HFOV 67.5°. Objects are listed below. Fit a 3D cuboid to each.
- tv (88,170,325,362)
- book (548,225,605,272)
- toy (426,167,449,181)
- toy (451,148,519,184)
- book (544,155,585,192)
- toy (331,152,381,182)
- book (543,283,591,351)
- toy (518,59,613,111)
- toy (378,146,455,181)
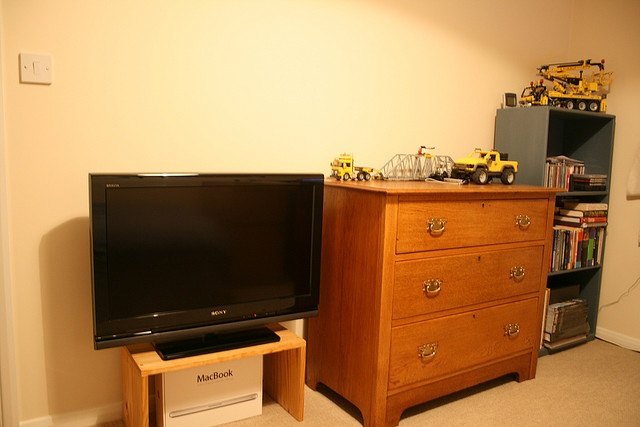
[{"bbox_3d":[-0.629,0.257,2.489,1.019,0.732,0.106,-2,7,-29],"label":"tv"},{"bbox_3d":[1.846,0.224,3.614,0.453,0.440,0.330,-4,6,-34],"label":"book"},{"bbox_3d":[0.820,-0.268,3.279,0.100,0.047,0.130,8,17,28],"label":"toy"},{"bbox_3d":[1.101,-0.314,3.222,0.388,0.216,0.224,-2,6,-25],"label":"toy"},{"bbox_3d":[1.756,-0.277,3.470,0.290,0.281,0.114,-1,4,-27],"label":"book"},{"bbox_3d":[0.225,-0.288,2.986,0.331,0.164,0.137,-3,8,-35],"label":"toy"},{"bbox_3d":[1.807,0.781,3.552,0.457,0.329,0.291,-9,15,-25],"label":"book"},{"bbox_3d":[1.816,-0.971,3.600,0.755,0.411,0.519,-9,15,-40],"label":"toy"},{"bbox_3d":[0.721,-0.343,3.353,0.557,0.203,0.117,0,3,12],"label":"toy"}]
